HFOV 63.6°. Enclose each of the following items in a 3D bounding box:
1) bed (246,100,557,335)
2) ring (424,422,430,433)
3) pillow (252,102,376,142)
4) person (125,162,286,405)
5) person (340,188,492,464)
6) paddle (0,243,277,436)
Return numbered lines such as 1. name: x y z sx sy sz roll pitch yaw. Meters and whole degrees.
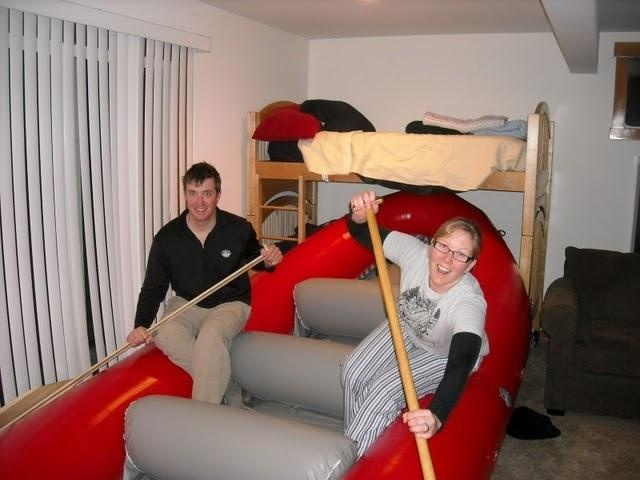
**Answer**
1. bed: 0.564 -0.187 3.556 1.821 1.459 0.723 7 19 21
2. ring: 0.373 0.648 1.788 0.021 0.028 0.009 3 36 -4
3. pillow: -0.091 -0.976 4.296 0.551 0.168 0.519 -1 26 4
4. person: -0.589 0.281 2.850 0.856 1.358 0.752 -6 9 -39
5. person: 0.330 0.362 2.214 0.706 1.100 0.856 4 9 24
6. paddle: -1.012 0.542 2.847 1.683 0.047 0.112 -34 63 -14
